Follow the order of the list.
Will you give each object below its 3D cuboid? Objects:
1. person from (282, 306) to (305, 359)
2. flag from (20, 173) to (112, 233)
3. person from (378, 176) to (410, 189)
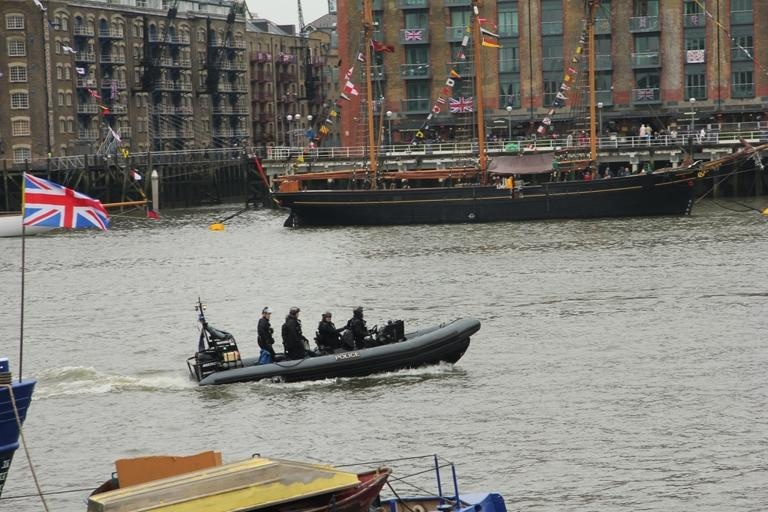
[{"bbox_3d":[-4.733,4.185,102.765,1.175,2.749,1.039,-2,3,-2],"label":"person"},{"bbox_3d":[-15.846,-2.566,98.020,4.751,2.498,0.754,4,7,15],"label":"flag"},{"bbox_3d":[0.868,-5.968,157.371,1.942,0.648,1.463,-1,1,30],"label":"person"}]
